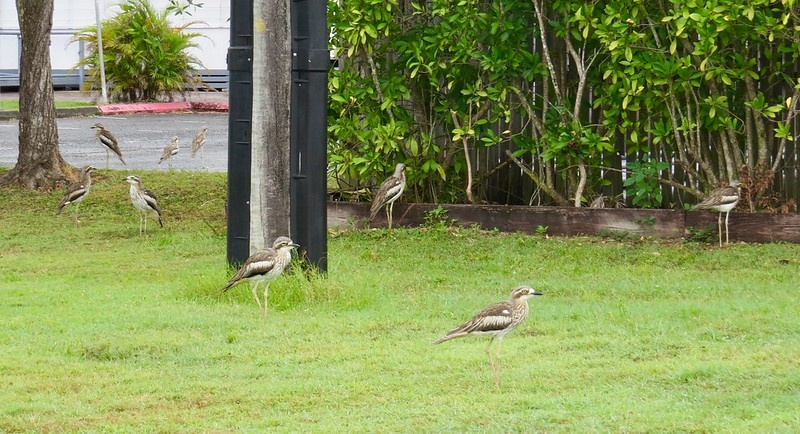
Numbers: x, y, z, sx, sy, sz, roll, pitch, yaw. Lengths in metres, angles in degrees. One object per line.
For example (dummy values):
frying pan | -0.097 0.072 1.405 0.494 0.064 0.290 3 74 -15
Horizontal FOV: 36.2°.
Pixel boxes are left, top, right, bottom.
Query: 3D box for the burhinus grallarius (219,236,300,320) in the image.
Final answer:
burhinus grallarius | -2.313 1.036 20.956 1.041 1.356 0.812 1 3 20

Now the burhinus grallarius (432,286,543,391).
burhinus grallarius | 1.431 1.873 19.287 1.314 1.536 0.827 -2 3 -36

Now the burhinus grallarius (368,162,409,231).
burhinus grallarius | -0.251 -0.427 24.766 0.723 1.321 0.969 0 3 -2

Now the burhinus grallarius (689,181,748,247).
burhinus grallarius | 6.154 -0.070 23.679 1.025 1.269 0.731 0 3 6
